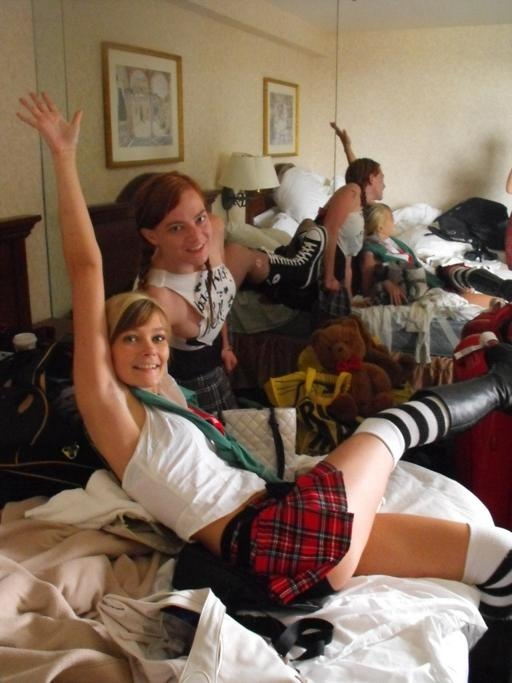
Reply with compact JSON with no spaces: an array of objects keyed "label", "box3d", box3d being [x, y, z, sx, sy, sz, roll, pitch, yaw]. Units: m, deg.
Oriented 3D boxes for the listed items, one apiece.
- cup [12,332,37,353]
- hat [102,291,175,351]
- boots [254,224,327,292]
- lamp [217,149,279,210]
[{"label":"cup","box3d":[-0.673,0.005,1.602,0.052,0.035,0.050,3,28,-2]},{"label":"hat","box3d":[-0.251,-0.041,1.156,0.113,0.106,0.086,-5,12,31]},{"label":"boots","box3d":[0.103,-0.244,1.753,0.139,0.289,0.096,-14,54,-30]},{"label":"lamp","box3d":[-0.032,-0.521,1.837,0.187,0.207,0.196,-18,32,-33]}]
